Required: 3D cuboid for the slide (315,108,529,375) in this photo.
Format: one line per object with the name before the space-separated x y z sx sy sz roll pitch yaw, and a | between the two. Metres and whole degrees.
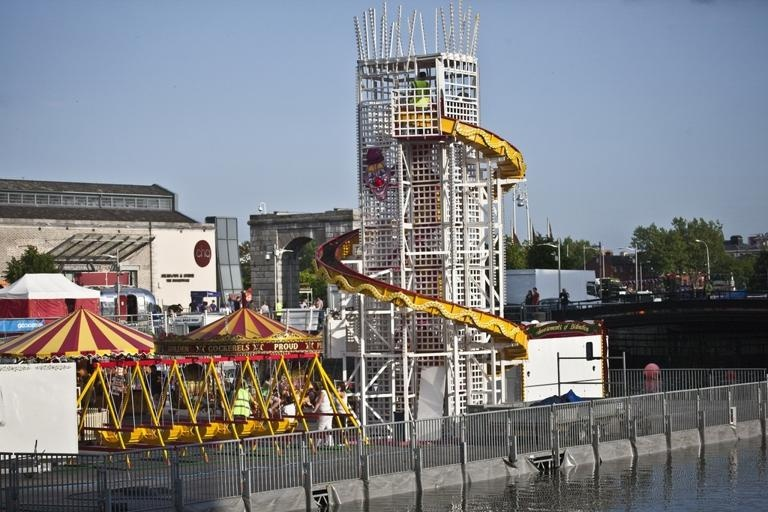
slide | 2.557 0.784 70.958 7.685 12.465 5.928 6 5 32
